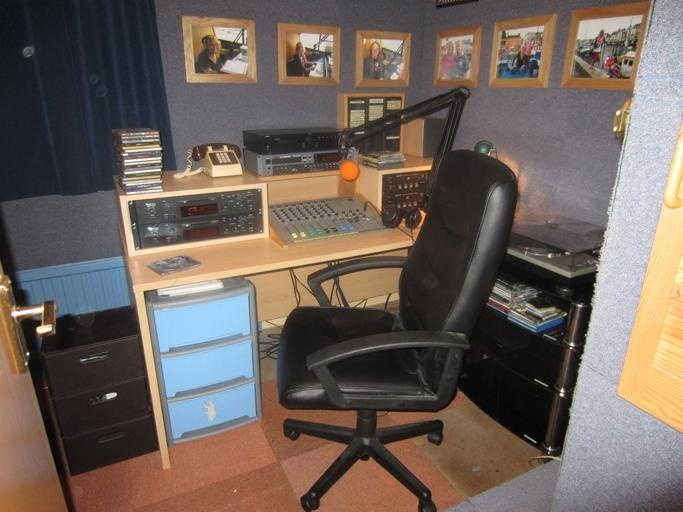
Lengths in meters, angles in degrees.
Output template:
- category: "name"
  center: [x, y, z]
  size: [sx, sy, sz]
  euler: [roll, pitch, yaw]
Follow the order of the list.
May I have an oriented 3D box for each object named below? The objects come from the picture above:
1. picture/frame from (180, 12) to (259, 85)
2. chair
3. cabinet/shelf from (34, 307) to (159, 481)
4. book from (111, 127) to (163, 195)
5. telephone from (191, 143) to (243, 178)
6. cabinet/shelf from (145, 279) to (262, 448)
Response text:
- category: "picture/frame"
  center: [-0.659, -1.109, 2.764]
  size: [0.403, 0.315, 0.016]
  euler: [-9, 22, -24]
- category: "chair"
  center: [0.210, 0.028, 2.894]
  size: [1.397, 2.140, 1.299]
  euler: [1, 21, -8]
- category: "cabinet/shelf"
  center: [-1.104, 0.618, 2.435]
  size: [0.404, 0.646, 0.340]
  euler: [-7, 22, -22]
- category: "book"
  center: [-0.920, -0.440, 2.393]
  size: [0.191, 0.263, 0.238]
  euler: [-7, 22, -22]
- category: "telephone"
  center: [-0.615, -0.503, 2.669]
  size: [0.260, 0.124, 0.200]
  euler: [-11, 34, -29]
- category: "cabinet/shelf"
  center: [-0.694, 0.483, 2.595]
  size: [0.591, 0.685, 0.600]
  euler: [-13, 15, -42]
